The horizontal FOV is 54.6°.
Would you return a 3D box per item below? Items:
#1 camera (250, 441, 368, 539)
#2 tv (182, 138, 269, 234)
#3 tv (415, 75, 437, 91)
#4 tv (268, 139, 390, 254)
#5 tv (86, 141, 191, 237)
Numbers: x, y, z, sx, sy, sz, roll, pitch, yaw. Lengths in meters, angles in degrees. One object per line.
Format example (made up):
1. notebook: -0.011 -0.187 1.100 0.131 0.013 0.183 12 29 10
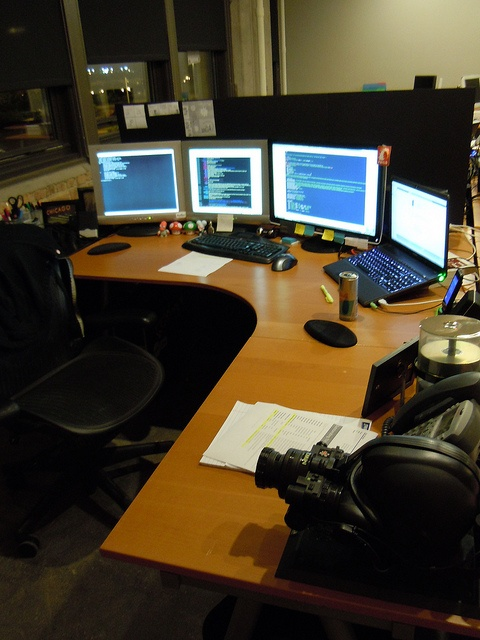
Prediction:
1. camera: 0.100 0.226 0.650 0.143 0.071 0.100 7 38 23
2. tv: -0.059 -0.671 2.273 0.500 0.435 0.053 5 27 13
3. tv: 1.583 -2.045 3.957 0.144 0.127 0.840 2 24 18
4. tv: 0.383 -0.530 1.941 0.477 0.340 0.144 24 41 39
5. tv: -0.507 -0.677 2.371 0.541 0.469 0.060 -2 30 2
